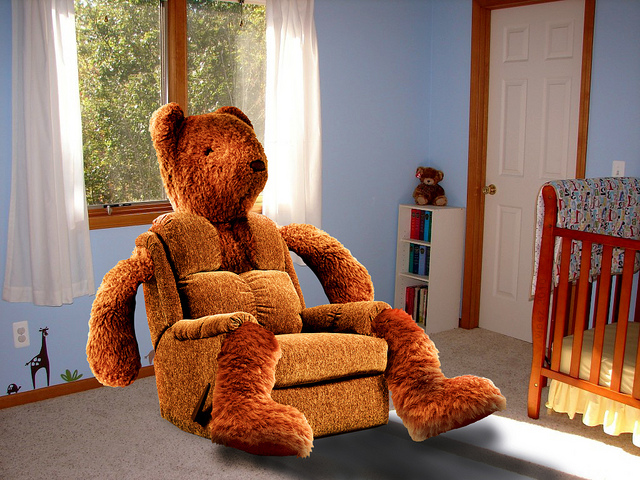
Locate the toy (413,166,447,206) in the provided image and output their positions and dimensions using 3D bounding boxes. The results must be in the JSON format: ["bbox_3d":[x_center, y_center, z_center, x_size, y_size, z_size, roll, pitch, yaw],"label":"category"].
[{"bbox_3d":[0.881,-0.419,4.069,0.256,0.320,0.210,5,11,17],"label":"toy"}]

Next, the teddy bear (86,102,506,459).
[{"bbox_3d":[-0.147,0.065,1.920,1.440,1.119,1.002,10,17,34],"label":"teddy bear"}]

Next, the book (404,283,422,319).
[{"bbox_3d":[0.717,0.475,3.917,0.149,0.280,0.276,2,3,13],"label":"book"}]

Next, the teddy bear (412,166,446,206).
[{"bbox_3d":[0.880,-0.419,4.070,0.248,0.328,0.203,4,9,14],"label":"teddy bear"}]
